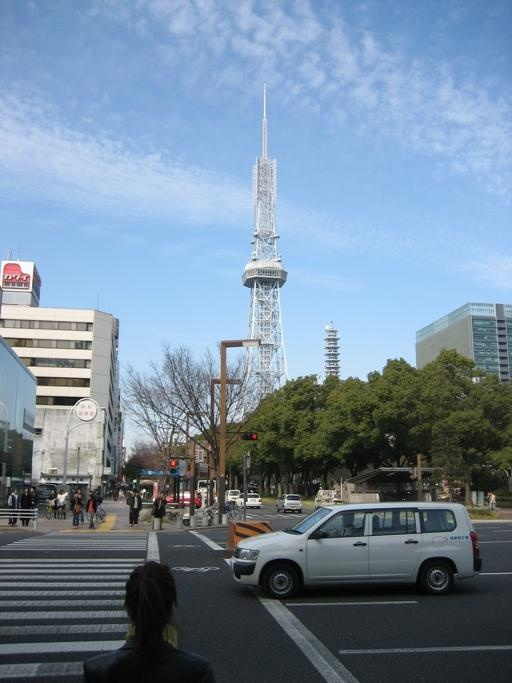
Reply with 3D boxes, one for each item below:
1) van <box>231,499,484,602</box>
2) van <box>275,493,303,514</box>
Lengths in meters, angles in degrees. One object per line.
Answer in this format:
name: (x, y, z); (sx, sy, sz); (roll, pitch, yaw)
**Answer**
van: (1.728, 3.554, 11.061); (3.969, 1.393, 1.784); (3, -14, -5)
van: (2.541, 12.349, 47.809); (1.240, 1.032, 2.091); (1, -5, -7)
